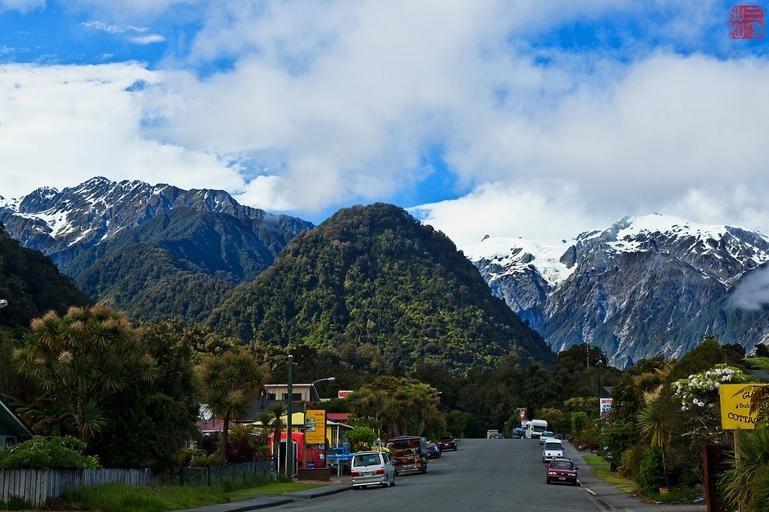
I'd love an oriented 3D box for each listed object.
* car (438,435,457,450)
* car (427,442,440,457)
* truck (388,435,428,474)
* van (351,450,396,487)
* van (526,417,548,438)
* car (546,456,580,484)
[{"bbox_3d":[8.854,26.831,139.205,2.291,1.798,2.200,-2,-14,9],"label":"car"},{"bbox_3d":[5.933,24.099,121.058,1.153,1.828,3.358,-2,-14,10],"label":"car"},{"bbox_3d":[2.211,19.782,97.727,2.658,2.353,4.644,-2,-2,1],"label":"truck"},{"bbox_3d":[-1.143,17.898,81.870,3.428,3.118,2.296,4,-14,-16],"label":"van"},{"bbox_3d":[25.861,29.786,168.179,2.914,3.729,8.920,1,-16,-2],"label":"van"},{"bbox_3d":[15.107,18.435,83.251,2.310,2.116,2.215,-3,-14,14],"label":"car"}]
